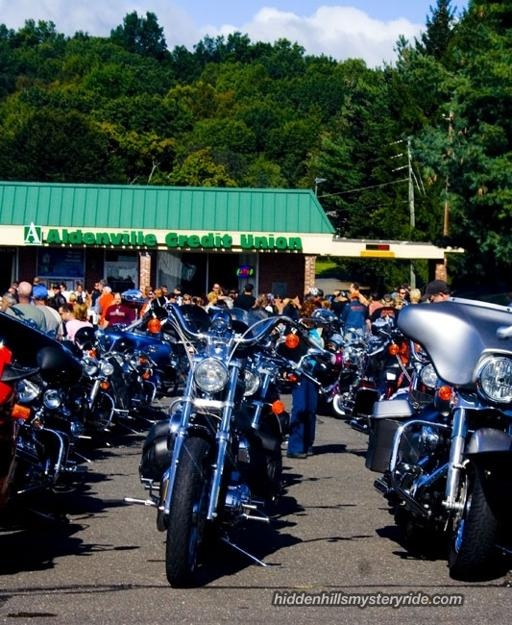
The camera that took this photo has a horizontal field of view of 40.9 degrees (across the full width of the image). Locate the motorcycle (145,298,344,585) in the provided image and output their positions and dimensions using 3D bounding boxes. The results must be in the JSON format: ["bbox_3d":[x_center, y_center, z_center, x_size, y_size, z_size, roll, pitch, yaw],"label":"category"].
[{"bbox_3d":[0.081,0.675,4.200,0.930,1.225,2.059,1,0,10],"label":"motorcycle"}]
